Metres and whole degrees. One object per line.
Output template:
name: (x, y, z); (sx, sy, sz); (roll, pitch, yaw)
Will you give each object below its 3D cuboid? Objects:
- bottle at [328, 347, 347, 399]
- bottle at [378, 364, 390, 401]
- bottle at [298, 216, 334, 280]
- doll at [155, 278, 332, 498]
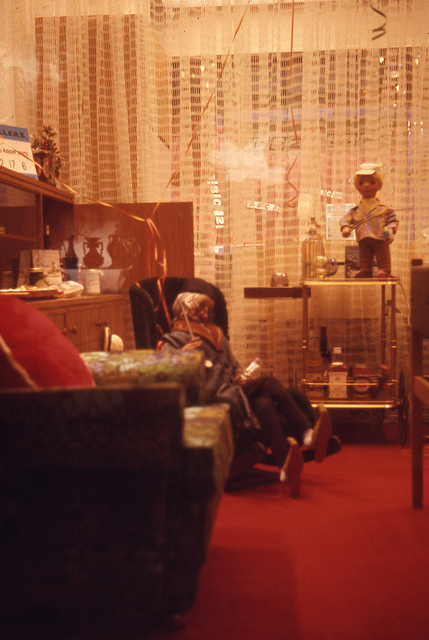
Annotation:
bottle: (0.579, 0.296, 2.606); (0.084, 0.096, 0.296); (-4, 54, 18)
bottle: (0.790, 0.289, 2.584); (0.051, 0.149, 0.147); (1, 7, 17)
bottle: (0.481, -0.346, 2.663); (0.155, 0.306, 0.393); (1, 7, 9)
doll: (0.084, 0.183, 1.894); (0.587, 0.608, 0.273); (14, 16, 38)
